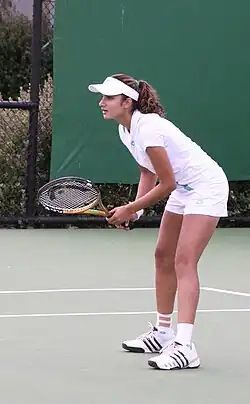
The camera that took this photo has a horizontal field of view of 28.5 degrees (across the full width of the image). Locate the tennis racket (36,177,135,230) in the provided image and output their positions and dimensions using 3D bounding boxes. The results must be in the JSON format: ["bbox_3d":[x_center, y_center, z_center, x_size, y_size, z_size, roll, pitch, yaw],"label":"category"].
[{"bbox_3d":[-0.195,-0.017,2.376,0.437,0.046,0.241,23,-34,-34],"label":"tennis racket"}]

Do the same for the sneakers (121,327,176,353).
[{"bbox_3d":[0.112,0.604,2.170,0.255,0.107,0.088,2,-9,-25],"label":"sneakers"}]

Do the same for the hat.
[{"bbox_3d":[-0.044,-0.479,2.087,0.180,0.054,0.111,16,2,-22],"label":"hat"}]

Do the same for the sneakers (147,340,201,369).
[{"bbox_3d":[0.201,0.583,1.854,0.234,0.097,0.082,0,-13,-6],"label":"sneakers"}]

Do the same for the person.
[{"bbox_3d":[0.185,0.059,2.078,0.485,1.210,0.661,-2,7,-31],"label":"person"}]
